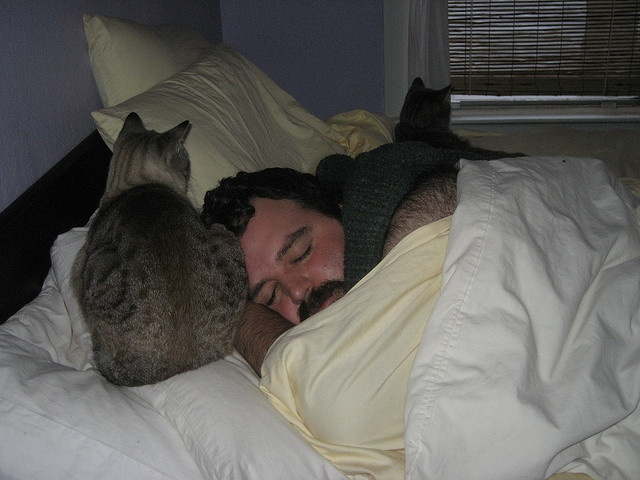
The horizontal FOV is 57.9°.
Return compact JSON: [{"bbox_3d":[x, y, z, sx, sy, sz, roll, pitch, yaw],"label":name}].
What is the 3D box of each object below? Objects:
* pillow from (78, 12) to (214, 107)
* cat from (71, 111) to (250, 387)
[{"bbox_3d":[-0.580,-0.572,1.879,0.208,0.191,0.485,40,33,2],"label":"pillow"},{"bbox_3d":[-0.378,0.002,1.408,0.350,0.205,0.585,-4,64,-8],"label":"cat"}]
